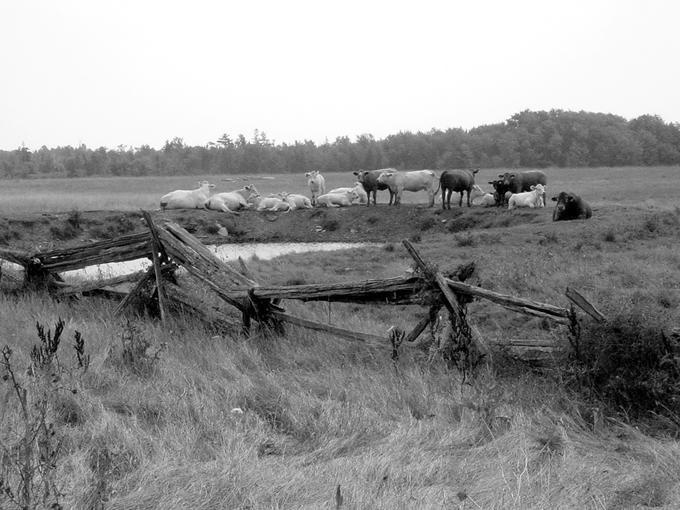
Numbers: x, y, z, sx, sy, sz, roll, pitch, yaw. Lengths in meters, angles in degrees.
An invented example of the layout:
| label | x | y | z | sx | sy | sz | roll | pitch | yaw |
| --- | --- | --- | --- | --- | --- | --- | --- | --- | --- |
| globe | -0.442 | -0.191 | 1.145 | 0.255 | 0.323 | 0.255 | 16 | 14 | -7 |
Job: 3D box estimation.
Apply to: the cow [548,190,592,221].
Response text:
| label | x | y | z | sx | sy | sz | roll | pitch | yaw |
| --- | --- | --- | --- | --- | --- | --- | --- | --- | --- |
| cow | 8.345 | -1.757 | 22.944 | 0.835 | 0.766 | 1.544 | 0 | -3 | 39 |
